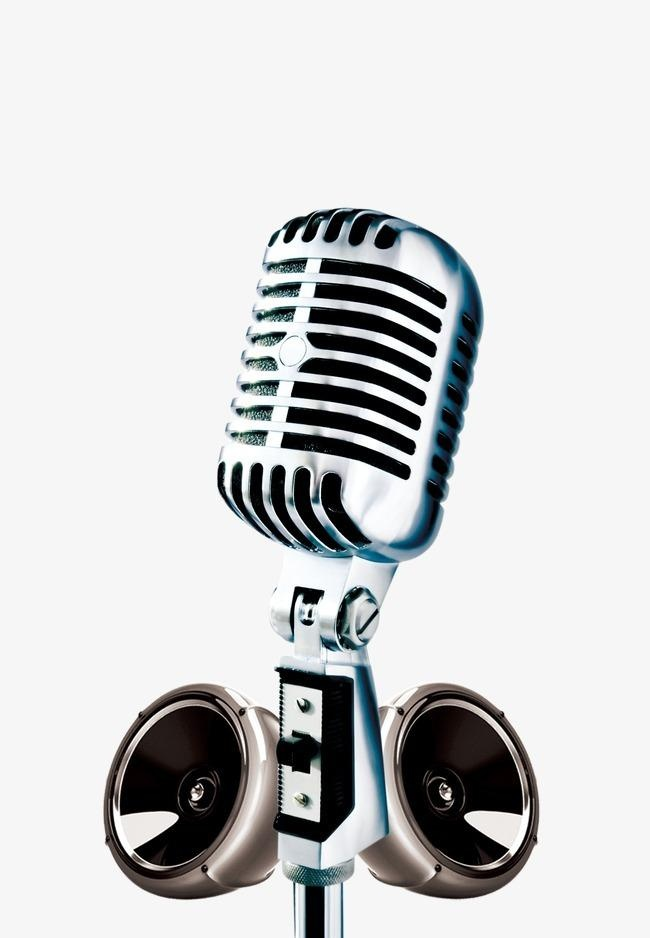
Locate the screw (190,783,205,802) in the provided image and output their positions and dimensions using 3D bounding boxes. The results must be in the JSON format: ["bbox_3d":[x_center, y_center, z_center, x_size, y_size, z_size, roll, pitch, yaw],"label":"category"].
[{"bbox_3d":[-0.233,0.595,1.993,0.026,0.012,0.032,2,79,14],"label":"screw"}]
